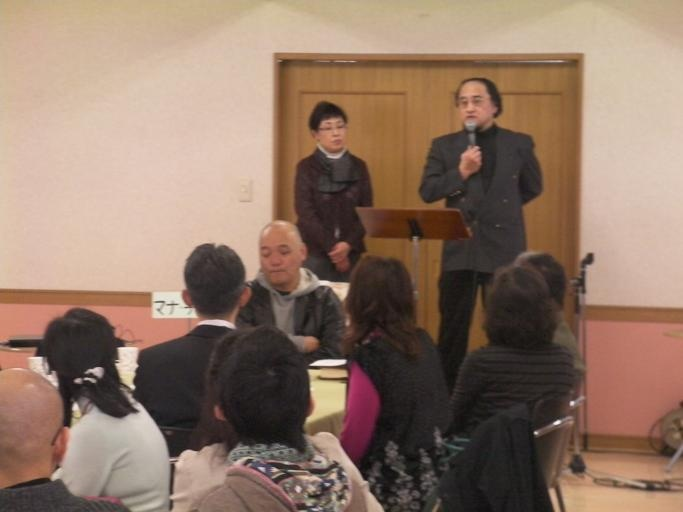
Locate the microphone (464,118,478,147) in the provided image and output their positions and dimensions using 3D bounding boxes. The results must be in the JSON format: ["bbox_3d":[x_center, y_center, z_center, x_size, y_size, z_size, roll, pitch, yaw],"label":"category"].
[{"bbox_3d":[0.716,-0.676,3.735,0.067,0.144,0.178,2,5,11],"label":"microphone"}]

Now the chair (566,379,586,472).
[{"bbox_3d":[1.271,0.927,3.663,0.103,0.456,0.105,9,-15,-25],"label":"chair"}]
